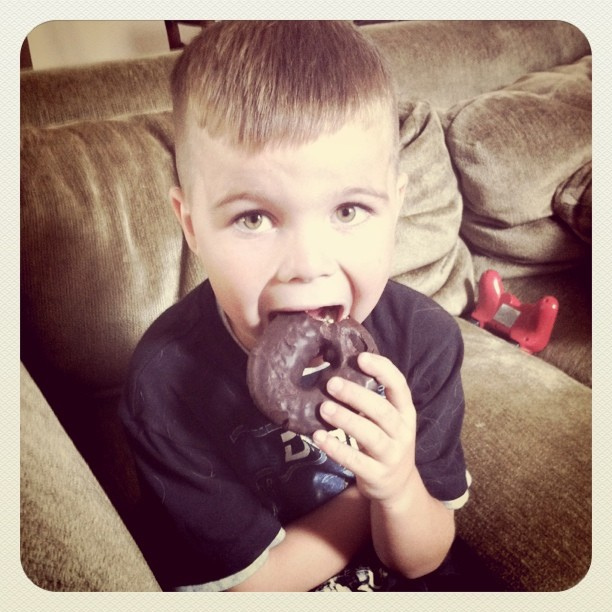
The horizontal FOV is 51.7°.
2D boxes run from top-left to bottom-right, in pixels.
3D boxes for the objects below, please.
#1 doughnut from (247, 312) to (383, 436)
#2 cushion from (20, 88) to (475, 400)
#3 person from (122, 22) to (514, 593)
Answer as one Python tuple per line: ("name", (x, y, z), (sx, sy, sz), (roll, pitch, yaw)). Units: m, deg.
("doughnut", (0.004, 0.122, 0.958), (0.193, 0.072, 0.198), (-5, 78, -12))
("cushion", (-0.237, -0.155, 1.353), (0.780, 0.805, 0.616), (-19, 32, -35))
("person", (-0.005, 0.044, 1.145), (0.676, 0.880, 0.648), (-6, 42, 0))
